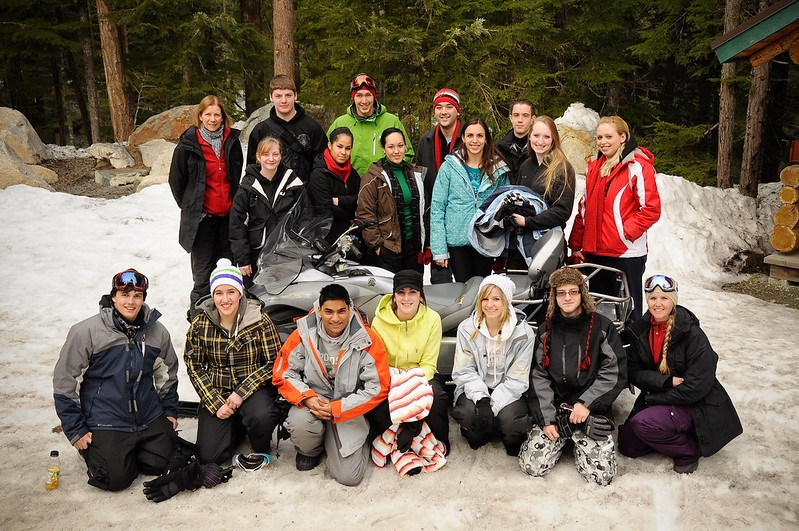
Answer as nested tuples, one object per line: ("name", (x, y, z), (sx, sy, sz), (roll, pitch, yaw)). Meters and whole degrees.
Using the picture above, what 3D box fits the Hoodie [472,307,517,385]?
("Hoodie", (1.090, 0.899, 7.088), (0.568, 0.801, 0.340), (1, 12, 12))

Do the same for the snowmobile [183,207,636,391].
("snowmobile", (0.421, 0.395, 7.834), (5.373, 2.576, 1.897), (1, 10, 2))

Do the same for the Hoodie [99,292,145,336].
("Hoodie", (-3.014, 0.535, 6.985), (0.423, 0.537, 0.272), (2, 1, -12))

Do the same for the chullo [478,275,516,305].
("chullo", (1.092, 0.230, 7.095), (0.281, 0.324, 0.376), (-3, -28, 23))

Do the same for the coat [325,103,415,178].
("coat", (-0.417, -1.885, 9.240), (1.568, 1.370, 0.916), (1, 12, 0))

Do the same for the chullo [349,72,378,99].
("chullo", (-0.508, -2.569, 8.832), (0.284, 0.388, 0.199), (-1, -3, -2))

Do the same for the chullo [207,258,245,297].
("chullo", (-1.922, 0.106, 7.019), (0.310, 0.408, 0.419), (-4, 5, -5))

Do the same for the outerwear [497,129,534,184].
("outerwear", (1.531, -1.408, 8.278), (0.644, 0.656, 0.351), (-4, 17, -6))

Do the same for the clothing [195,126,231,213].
("clothing", (-2.471, -1.200, 8.360), (0.554, 1.037, 0.251), (-2, 9, -8))

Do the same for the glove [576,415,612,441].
("glove", (2.098, 1.706, 6.706), (0.372, 0.222, 0.188), (0, 15, 0))

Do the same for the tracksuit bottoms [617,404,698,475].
("tracksuit bottoms", (2.879, 1.836, 7.082), (0.718, 0.705, 0.600), (9, 5, 14))

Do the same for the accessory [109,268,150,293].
("accessory", (-2.877, 0.155, 6.767), (0.231, 0.157, 0.306), (3, -23, -21))

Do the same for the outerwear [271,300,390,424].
("outerwear", (-0.601, 1.020, 7.243), (1.729, 1.574, 1.092), (2, 12, 3))

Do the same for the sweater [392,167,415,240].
("sweater", (0.093, -0.841, 8.279), (0.189, 0.732, 0.538), (-6, -5, 4))

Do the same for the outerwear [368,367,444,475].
("outerwear", (0.081, 1.588, 6.973), (0.991, 0.486, 1.353), (15, 41, -16))

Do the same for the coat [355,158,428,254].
("coat", (-0.102, -0.736, 8.219), (1.064, 1.127, 0.608), (-9, 16, -31))

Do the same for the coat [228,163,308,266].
("coat", (-1.636, -0.613, 7.901), (1.175, 1.243, 0.598), (-4, 18, -18))
